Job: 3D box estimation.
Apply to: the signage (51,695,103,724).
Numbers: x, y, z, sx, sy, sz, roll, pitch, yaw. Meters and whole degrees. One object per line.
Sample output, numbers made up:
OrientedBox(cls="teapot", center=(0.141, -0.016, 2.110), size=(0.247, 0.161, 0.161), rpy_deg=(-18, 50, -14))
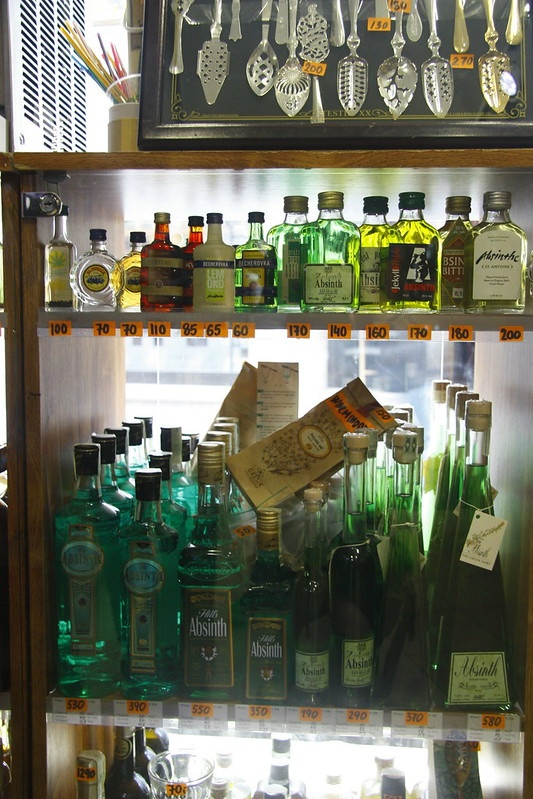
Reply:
OrientedBox(cls="signage", center=(-0.319, 0.527, 1.179), size=(0.069, 0.036, 0.051), rpy_deg=(1, -3, 7))

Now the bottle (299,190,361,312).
OrientedBox(cls="bottle", center=(0.113, -0.274, 1.236), size=(0.099, 0.233, 0.071), rpy_deg=(2, 41, 4))

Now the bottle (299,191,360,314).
OrientedBox(cls="bottle", center=(0.114, -0.279, 1.234), size=(0.106, 0.238, 0.079), rpy_deg=(7, 44, 11))

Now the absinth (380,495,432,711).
OrientedBox(cls="absinth", center=(0.234, 0.334, 1.171), size=(0.084, 0.329, 0.115), rpy_deg=(1, 4, 13))

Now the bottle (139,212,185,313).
OrientedBox(cls="bottle", center=(-0.186, -0.243, 1.243), size=(0.072, 0.185, 0.063), rpy_deg=(1, -3, -9))

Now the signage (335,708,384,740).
OrientedBox(cls="signage", center=(0.150, 0.523, 1.124), size=(0.076, 0.052, 0.042), rpy_deg=(1, 2, 4))

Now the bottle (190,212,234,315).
OrientedBox(cls="bottle", center=(-0.089, -0.237, 1.199), size=(0.072, 0.168, 0.056), rpy_deg=(0, 4, -5))

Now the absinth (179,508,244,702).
OrientedBox(cls="absinth", center=(-0.093, 0.343, 1.183), size=(0.104, 0.312, 0.079), rpy_deg=(0, 4, -6))

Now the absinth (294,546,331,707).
OrientedBox(cls="absinth", center=(0.075, 0.372, 1.156), size=(0.060, 0.254, 0.062), rpy_deg=(0, 4, 4))

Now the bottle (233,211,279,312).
OrientedBox(cls="bottle", center=(-0.020, -0.241, 1.238), size=(0.077, 0.193, 0.068), rpy_deg=(-1, -7, 7))

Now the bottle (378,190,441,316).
OrientedBox(cls="bottle", center=(0.245, -0.262, 1.173), size=(0.097, 0.219, 0.067), rpy_deg=(-6, 42, 4))

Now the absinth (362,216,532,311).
OrientedBox(cls="absinth", center=(0.299, -0.225, 1.172), size=(0.159, 0.157, 0.059), rpy_deg=(1, -1, 3))

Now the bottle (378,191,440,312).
OrientedBox(cls="bottle", center=(0.246, -0.259, 1.173), size=(0.100, 0.222, 0.058), rpy_deg=(-1, 41, 9))

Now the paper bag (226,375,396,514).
OrientedBox(cls="paper bag", center=(0.073, 0.084, 1.225), size=(0.300, 0.171, 0.064), rpy_deg=(-34, -4, -5))

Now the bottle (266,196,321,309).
OrientedBox(cls="bottle", center=(0.046, -0.279, 1.269), size=(0.083, 0.207, 0.085), rpy_deg=(0, 43, 0))

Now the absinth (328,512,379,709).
OrientedBox(cls="absinth", center=(0.144, 0.347, 1.165), size=(0.079, 0.302, 0.087), rpy_deg=(0, 4, 5))

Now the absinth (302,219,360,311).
OrientedBox(cls="absinth", center=(0.111, -0.258, 1.208), size=(0.104, 0.205, 0.076), rpy_deg=(6, 36, 12))

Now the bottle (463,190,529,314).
OrientedBox(cls="bottle", center=(0.407, -0.253, 1.174), size=(0.144, 0.207, 0.079), rpy_deg=(-2, 5, -21))
